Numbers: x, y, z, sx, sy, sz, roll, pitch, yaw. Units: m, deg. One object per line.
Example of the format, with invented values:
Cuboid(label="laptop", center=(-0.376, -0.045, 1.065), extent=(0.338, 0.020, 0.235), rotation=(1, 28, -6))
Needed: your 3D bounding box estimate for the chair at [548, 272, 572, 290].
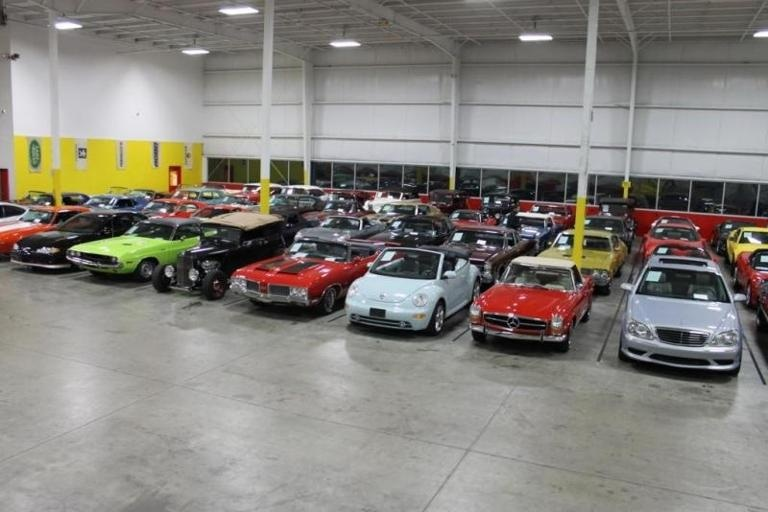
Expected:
Cuboid(label="chair", center=(4.059, 0.599, 11.119), extent=(0.328, 0.180, 0.491), rotation=(6, 15, 23))

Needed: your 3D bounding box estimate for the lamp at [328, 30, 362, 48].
Cuboid(label="lamp", center=(-2.324, -12.423, 28.258), extent=(1.776, 0.343, 1.838), rotation=(7, 11, 37))

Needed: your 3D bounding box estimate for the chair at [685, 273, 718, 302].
Cuboid(label="chair", center=(6.668, 0.645, 10.116), extent=(0.564, 0.462, 0.721), rotation=(6, 11, 25))

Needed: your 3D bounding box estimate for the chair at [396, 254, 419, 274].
Cuboid(label="chair", center=(0.604, 0.201, 11.894), extent=(0.450, 0.475, 0.479), rotation=(5, 2, 15))

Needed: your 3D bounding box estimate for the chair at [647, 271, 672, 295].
Cuboid(label="chair", center=(5.815, 0.585, 10.332), extent=(0.469, 0.429, 0.619), rotation=(6, 11, 24))

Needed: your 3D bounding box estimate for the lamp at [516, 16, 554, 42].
Cuboid(label="lamp", center=(7.456, -10.946, 24.057), extent=(2.035, 0.931, 1.763), rotation=(3, 14, 14))

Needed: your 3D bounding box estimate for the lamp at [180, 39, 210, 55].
Cuboid(label="lamp", center=(-12.164, -13.453, 31.220), extent=(1.663, 0.751, 1.416), rotation=(2, 9, -6))
